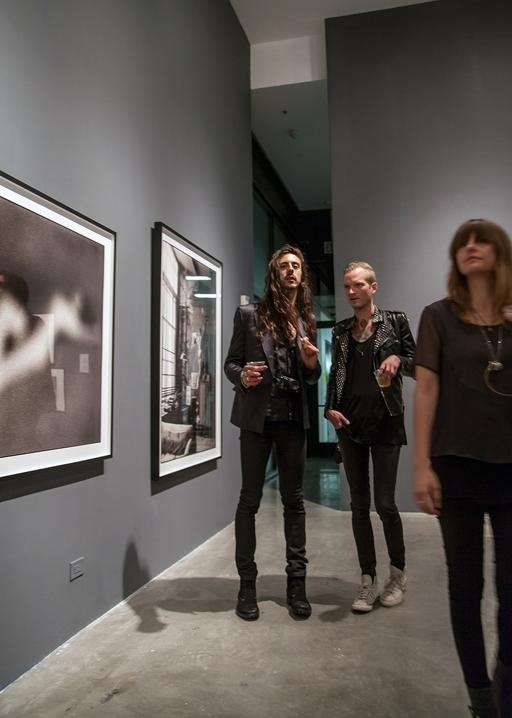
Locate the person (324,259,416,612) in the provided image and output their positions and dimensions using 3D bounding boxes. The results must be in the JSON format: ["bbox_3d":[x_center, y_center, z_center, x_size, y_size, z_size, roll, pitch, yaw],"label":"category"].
[{"bbox_3d":[0.512,0.319,2.412,0.411,1.569,0.559,-2,-6,15],"label":"person"}]

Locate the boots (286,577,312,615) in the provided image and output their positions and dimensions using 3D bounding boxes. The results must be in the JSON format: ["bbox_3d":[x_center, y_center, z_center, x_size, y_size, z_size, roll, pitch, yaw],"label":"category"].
[{"bbox_3d":[0.193,1.037,2.384,0.105,0.134,0.248,-1,-6,4],"label":"boots"}]

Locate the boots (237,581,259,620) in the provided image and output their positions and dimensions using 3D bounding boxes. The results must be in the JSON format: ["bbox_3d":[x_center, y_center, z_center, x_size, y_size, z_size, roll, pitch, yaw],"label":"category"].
[{"bbox_3d":[-0.033,1.045,2.338,0.096,0.120,0.175,0,-6,-2],"label":"boots"}]

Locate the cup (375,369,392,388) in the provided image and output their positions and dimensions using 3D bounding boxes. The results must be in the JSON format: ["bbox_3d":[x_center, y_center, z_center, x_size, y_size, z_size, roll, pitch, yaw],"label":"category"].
[{"bbox_3d":[0.518,0.082,2.211,0.068,0.070,0.074,-5,-9,-1],"label":"cup"}]

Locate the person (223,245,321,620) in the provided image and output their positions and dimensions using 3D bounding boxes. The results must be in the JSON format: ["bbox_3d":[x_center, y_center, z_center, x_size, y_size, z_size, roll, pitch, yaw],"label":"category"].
[{"bbox_3d":[0.081,0.279,2.398,0.433,1.655,0.459,0,-6,-3],"label":"person"}]

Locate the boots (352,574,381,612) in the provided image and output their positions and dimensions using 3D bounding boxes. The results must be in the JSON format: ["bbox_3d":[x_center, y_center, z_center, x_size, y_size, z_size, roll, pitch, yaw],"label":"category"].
[{"bbox_3d":[0.490,1.049,2.376,0.067,0.110,0.187,-2,-14,16],"label":"boots"}]

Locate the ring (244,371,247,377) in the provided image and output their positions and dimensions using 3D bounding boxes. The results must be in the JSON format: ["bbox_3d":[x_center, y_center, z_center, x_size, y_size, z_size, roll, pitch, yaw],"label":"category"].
[{"bbox_3d":[-0.038,0.058,2.182,0.014,0.014,0.005,-9,-16,40],"label":"ring"}]

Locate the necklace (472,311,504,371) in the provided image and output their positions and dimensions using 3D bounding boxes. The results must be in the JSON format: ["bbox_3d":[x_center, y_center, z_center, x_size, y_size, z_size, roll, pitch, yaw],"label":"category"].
[{"bbox_3d":[0.522,-0.030,1.202,0.050,0.117,0.040,-3,-6,25],"label":"necklace"}]

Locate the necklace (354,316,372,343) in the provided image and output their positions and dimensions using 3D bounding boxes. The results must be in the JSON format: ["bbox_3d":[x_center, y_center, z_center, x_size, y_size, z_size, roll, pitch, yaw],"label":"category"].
[{"bbox_3d":[0.497,-0.137,2.502,0.041,0.109,0.074,20,-21,-38],"label":"necklace"}]
